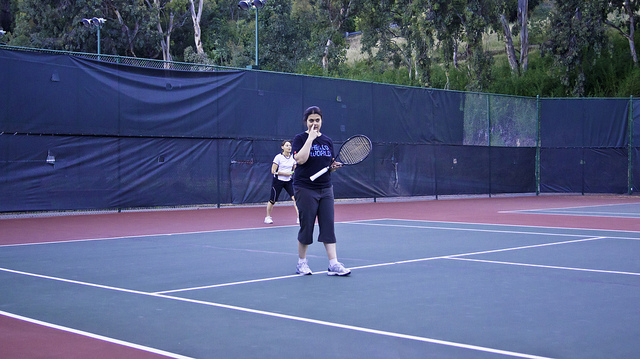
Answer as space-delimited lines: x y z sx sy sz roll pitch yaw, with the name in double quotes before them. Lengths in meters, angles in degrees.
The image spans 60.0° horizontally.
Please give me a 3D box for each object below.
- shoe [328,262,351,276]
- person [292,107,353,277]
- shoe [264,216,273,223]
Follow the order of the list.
"shoe" 0.386 1.937 11.873 0.501 0.249 0.208 0 -3 26
"person" -0.055 0.207 12.214 1.045 3.561 1.502 -1 8 0
"shoe" -1.701 1.349 18.294 0.247 0.214 0.450 -2 8 -4
